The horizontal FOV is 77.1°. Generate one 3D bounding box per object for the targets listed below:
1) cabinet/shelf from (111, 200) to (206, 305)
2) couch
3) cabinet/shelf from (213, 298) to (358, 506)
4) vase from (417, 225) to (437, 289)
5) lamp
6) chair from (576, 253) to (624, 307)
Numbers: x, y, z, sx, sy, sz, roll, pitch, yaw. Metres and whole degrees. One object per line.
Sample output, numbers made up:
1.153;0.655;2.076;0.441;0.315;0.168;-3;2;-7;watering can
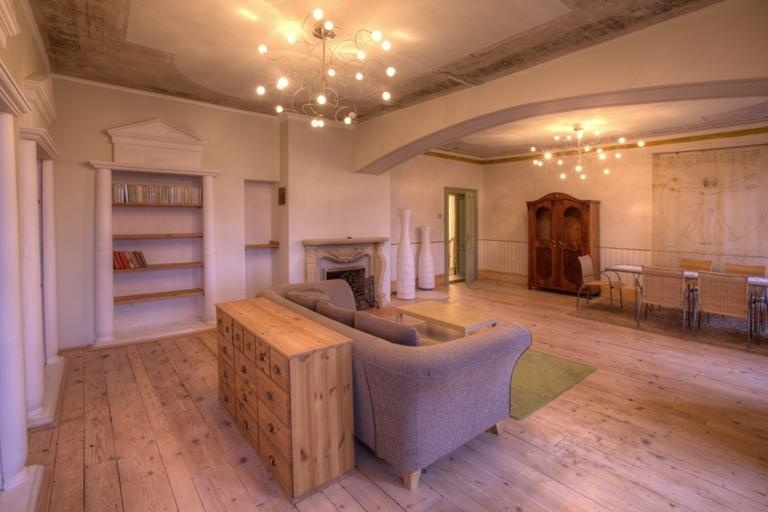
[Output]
-3.577;-0.072;7.523;1.679;1.785;0.512;-1;1;-40;cabinet/shelf
-0.190;1.291;6.059;1.880;1.442;3.368;-8;13;-40;couch
-1.250;1.388;5.460;0.850;1.410;2.208;-6;13;-33;cabinet/shelf
0.903;0.027;10.928;0.459;1.404;0.486;1;6;20;vase
-0.710;-2.551;6.544;1.618;1.127;1.519;2;5;41;lamp
4.209;0.490;9.352;0.663;0.933;0.653;0;7;44;chair
